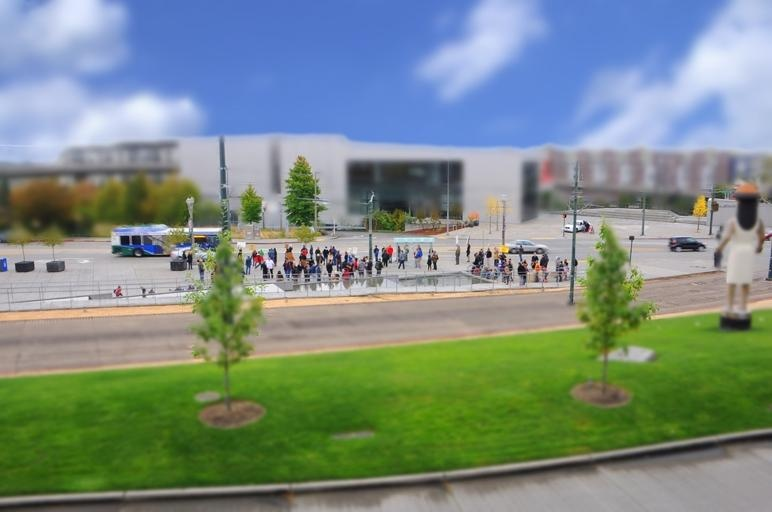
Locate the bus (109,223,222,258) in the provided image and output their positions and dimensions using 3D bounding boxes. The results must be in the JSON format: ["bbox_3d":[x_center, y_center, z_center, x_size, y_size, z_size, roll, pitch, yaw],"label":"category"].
[{"bbox_3d":[-19.001,-1.217,58.206,8.842,2.729,2.586,-2,10,-11],"label":"bus"}]
